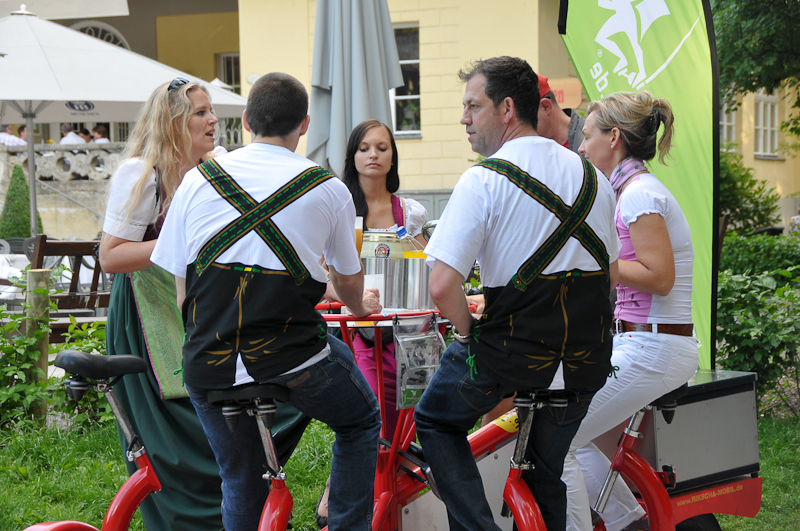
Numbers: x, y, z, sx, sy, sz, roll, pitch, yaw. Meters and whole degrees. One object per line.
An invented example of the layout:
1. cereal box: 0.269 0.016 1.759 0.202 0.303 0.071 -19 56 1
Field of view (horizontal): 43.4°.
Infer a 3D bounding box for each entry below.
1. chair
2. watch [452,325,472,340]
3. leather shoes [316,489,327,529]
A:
1. chair: -3.403 0.272 10.229 1.185 0.896 0.489 -3 5 -44
2. watch: 0.414 0.449 6.602 0.078 0.102 0.044 5 34 31
3. leather shoes: -0.567 1.782 7.394 0.080 0.232 0.171 6 -14 2
